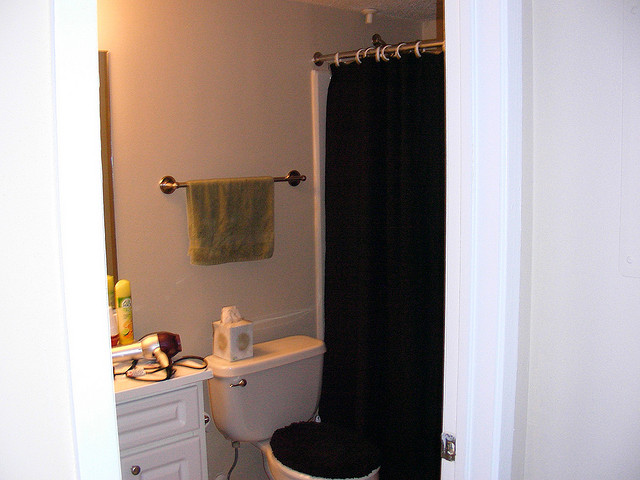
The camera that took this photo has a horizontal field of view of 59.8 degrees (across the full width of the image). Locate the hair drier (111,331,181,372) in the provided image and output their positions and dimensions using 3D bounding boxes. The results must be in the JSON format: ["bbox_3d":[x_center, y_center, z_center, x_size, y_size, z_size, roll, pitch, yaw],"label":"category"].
[{"bbox_3d":[-0.567,0.383,1.947,0.294,0.128,0.091,-4,-14,-32],"label":"hair drier"}]
